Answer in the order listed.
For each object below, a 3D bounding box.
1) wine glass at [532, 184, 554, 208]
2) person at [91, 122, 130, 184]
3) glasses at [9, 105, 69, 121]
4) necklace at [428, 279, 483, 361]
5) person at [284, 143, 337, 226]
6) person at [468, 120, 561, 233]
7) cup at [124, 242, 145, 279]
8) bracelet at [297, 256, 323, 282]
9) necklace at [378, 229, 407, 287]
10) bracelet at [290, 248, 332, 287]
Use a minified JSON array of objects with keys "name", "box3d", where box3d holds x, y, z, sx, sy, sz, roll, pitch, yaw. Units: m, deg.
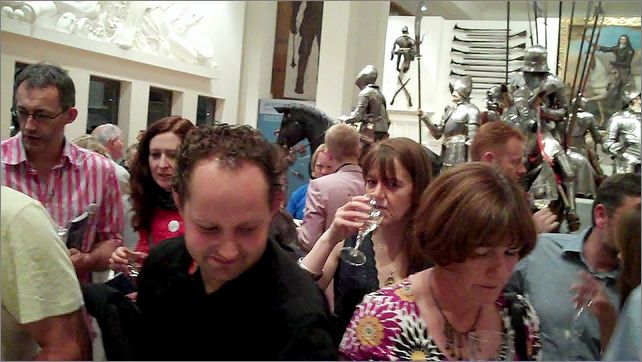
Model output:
[{"name":"wine glass","box3d":[2.578,0.182,5.863,0.291,0.263,0.215,-5,1,4]},{"name":"person","box3d":[-3.038,-0.380,7.202,0.941,0.829,0.491,0,5,45]},{"name":"glasses","box3d":[-1.989,-0.468,3.613,0.208,0.056,0.199,6,10,4]},{"name":"necklace","box3d":[0.657,0.699,2.498,0.276,0.281,0.347,6,6,13]},{"name":"person","box3d":[-0.124,0.025,5.304,0.335,0.972,0.489,20,-31,-17]},{"name":"person","box3d":[1.446,-0.128,3.792,0.637,1.028,0.454,-9,1,-19]},{"name":"cup","box3d":[-1.061,0.458,2.853,0.154,0.151,0.161,8,3,0]},{"name":"bracelet","box3d":[-0.053,0.509,2.922,0.154,0.035,0.140,31,17,-15]},{"name":"necklace","box3d":[0.421,0.469,3.073,0.178,0.330,0.082,-1,-20,7]},{"name":"bracelet","box3d":[-0.096,0.492,3.036,0.246,0.096,0.187,40,-4,3]}]
